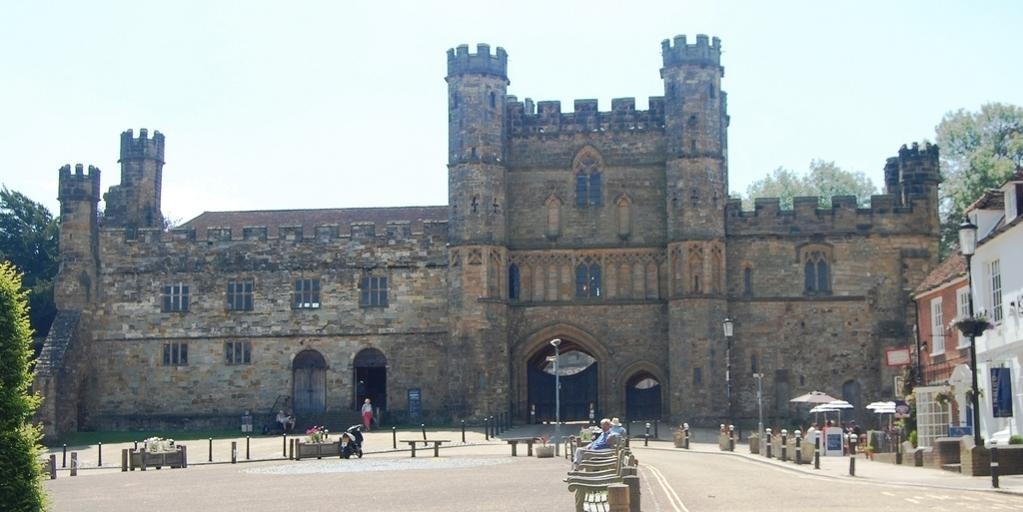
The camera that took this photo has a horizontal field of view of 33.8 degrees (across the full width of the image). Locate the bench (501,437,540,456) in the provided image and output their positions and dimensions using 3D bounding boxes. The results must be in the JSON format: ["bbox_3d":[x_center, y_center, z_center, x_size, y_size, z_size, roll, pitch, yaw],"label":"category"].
[{"bbox_3d":[0.763,11.888,107.334,2.166,0.783,1.241,0,-12,1],"label":"bench"}]

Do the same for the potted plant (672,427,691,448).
[{"bbox_3d":[11.194,11.968,110.502,1.515,1.390,1.302,1,-15,-3],"label":"potted plant"}]

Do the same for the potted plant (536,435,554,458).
[{"bbox_3d":[2.222,12.092,106.696,1.455,1.401,1.283,-2,-4,10],"label":"potted plant"}]

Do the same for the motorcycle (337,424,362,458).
[{"bbox_3d":[-10.256,11.967,108.010,1.851,1.126,1.970,-1,4,-21],"label":"motorcycle"}]

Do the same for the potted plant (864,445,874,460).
[{"bbox_3d":[22.823,12.481,107.177,0.847,0.626,0.736,0,-4,6],"label":"potted plant"}]

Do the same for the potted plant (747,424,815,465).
[{"bbox_3d":[17.076,11.985,104.408,3.977,2.226,2.751,2,-1,19],"label":"potted plant"}]
